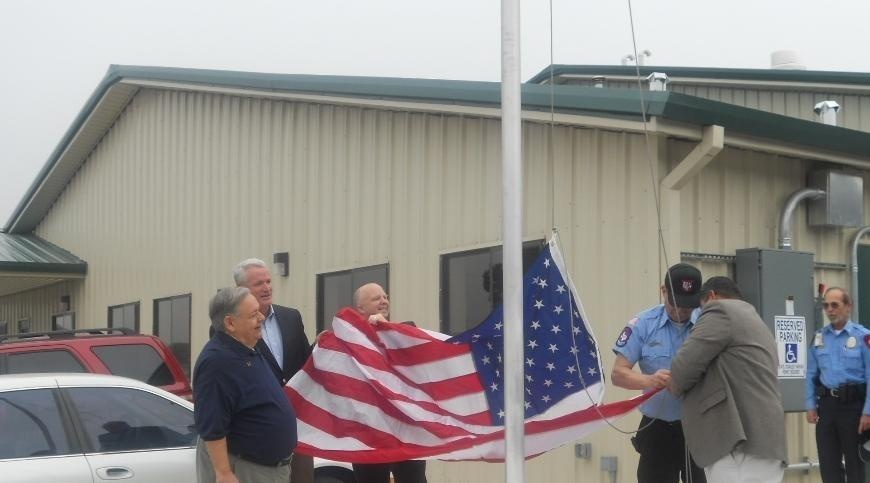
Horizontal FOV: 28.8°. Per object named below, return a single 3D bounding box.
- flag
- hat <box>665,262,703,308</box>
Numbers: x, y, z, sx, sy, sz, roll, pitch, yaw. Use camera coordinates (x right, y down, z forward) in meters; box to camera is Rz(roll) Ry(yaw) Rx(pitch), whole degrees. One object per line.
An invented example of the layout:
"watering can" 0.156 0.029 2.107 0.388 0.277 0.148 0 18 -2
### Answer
"flag" 0.924 1.879 27.919 4.520 2.650 0.546 0 -4 5
"hat" 4.046 0.638 26.896 0.638 0.920 0.424 1 -54 -10
